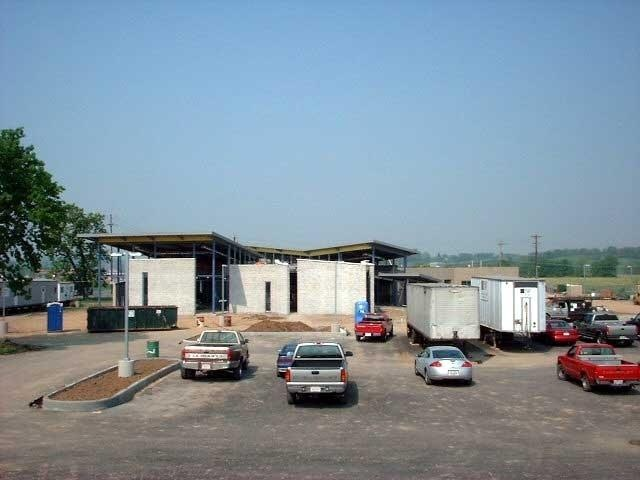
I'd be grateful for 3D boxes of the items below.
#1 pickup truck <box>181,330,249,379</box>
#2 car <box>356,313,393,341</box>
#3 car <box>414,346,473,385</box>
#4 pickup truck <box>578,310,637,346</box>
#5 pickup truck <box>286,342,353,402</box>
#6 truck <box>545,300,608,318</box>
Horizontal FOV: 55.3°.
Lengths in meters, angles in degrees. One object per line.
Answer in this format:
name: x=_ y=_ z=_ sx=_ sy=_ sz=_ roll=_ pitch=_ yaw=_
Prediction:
pickup truck: x=-4.785 y=5.340 z=27.830 sx=2.404 sy=2.196 sz=2.759 roll=0 pitch=0 yaw=6
car: x=3.684 y=6.063 z=41.730 sx=1.792 sy=1.716 sz=3.156 roll=0 pitch=0 yaw=20
car: x=5.420 y=5.648 z=27.250 sx=1.704 sy=1.531 sz=2.432 roll=0 pitch=0 yaw=-20
pickup truck: x=18.399 y=5.731 z=39.357 sx=2.094 sy=1.233 sz=3.840 roll=1 pitch=-1 yaw=-7
pickup truck: x=0.040 y=5.072 z=24.924 sx=2.571 sy=1.701 sz=4.522 roll=0 pitch=4 yaw=4
truck: x=21.147 y=5.800 z=50.877 sx=4.103 sy=0.857 sz=3.371 roll=0 pitch=0 yaw=-11
